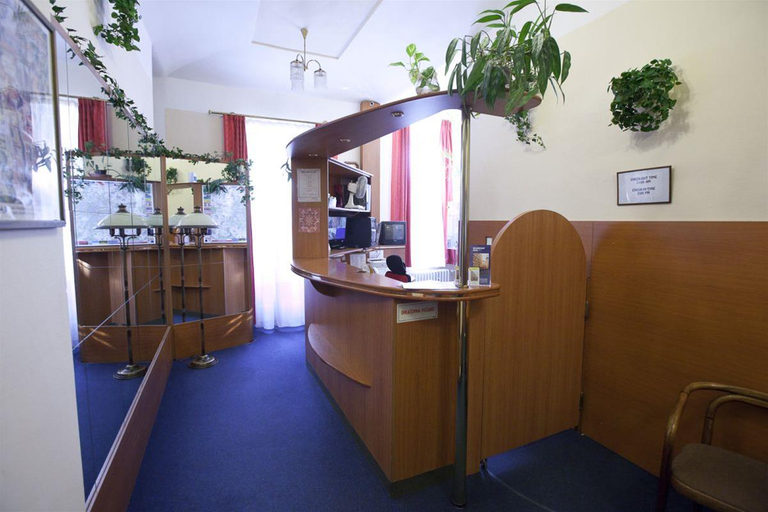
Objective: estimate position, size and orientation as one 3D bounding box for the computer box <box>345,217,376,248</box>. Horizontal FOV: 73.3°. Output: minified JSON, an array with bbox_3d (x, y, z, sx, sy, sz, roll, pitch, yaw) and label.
[{"bbox_3d":[-0.301,-0.302,6.248,0.326,0.351,0.614,3,7,-3],"label":"computer box"}]

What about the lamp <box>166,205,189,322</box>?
[{"bbox_3d":[-2.170,0.095,5.551,0.110,1.231,0.180,-1,7,9],"label":"lamp"}]

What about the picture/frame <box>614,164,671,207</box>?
[{"bbox_3d":[1.905,-0.519,3.794,0.033,0.254,0.333,0,1,-35],"label":"picture/frame"}]

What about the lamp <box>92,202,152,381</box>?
[{"bbox_3d":[-1.934,0.267,3.926,0.404,1.297,0.385,-4,3,-33],"label":"lamp"}]

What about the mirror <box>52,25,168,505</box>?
[{"bbox_3d":[-1.872,0.019,3.461,0.217,2.814,1.318,-4,7,-17],"label":"mirror"}]

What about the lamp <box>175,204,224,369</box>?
[{"bbox_3d":[-1.994,0.347,5.633,0.477,1.750,0.489,-2,0,10],"label":"lamp"}]

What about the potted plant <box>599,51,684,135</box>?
[{"bbox_3d":[1.852,-1.164,3.664,0.521,0.499,0.313,-17,28,-25],"label":"potted plant"}]

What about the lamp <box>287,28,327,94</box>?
[{"bbox_3d":[-0.806,-2.082,5.487,0.394,0.563,0.384,3,42,-2],"label":"lamp"}]

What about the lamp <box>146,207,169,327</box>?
[{"bbox_3d":[-2.217,0.123,5.169,0.309,1.180,0.301,-2,9,-24],"label":"lamp"}]

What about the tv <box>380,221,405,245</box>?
[{"bbox_3d":[0.101,-0.278,6.509,0.381,0.313,0.119,-7,8,-34],"label":"tv"}]

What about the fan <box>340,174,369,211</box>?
[{"bbox_3d":[-0.314,-0.691,5.952,0.355,0.553,0.408,-4,29,-9],"label":"fan"}]
